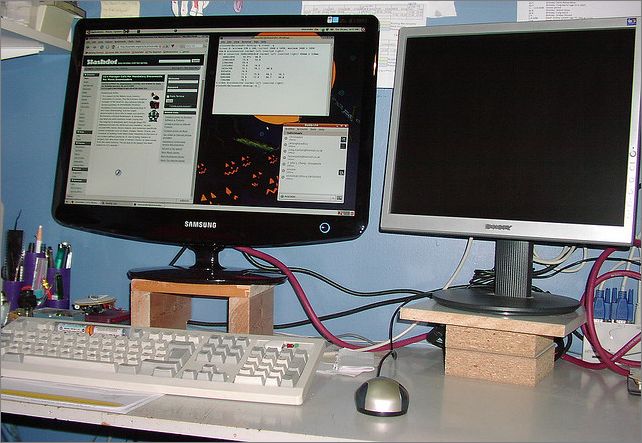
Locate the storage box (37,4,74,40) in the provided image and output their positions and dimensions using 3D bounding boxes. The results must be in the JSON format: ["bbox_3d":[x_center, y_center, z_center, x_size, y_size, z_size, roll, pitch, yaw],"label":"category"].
[{"bbox_3d":[-0.799,-0.597,1.603,0.083,0.102,0.112,16,8,29],"label":"storage box"}]

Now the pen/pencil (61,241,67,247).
[{"bbox_3d":[-0.781,0.065,1.580,0.016,0.006,0.020,4,12,-8],"label":"pen/pencil"}]

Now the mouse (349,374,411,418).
[{"bbox_3d":[0.113,0.326,1.007,0.080,0.044,0.080,-1,-4,39],"label":"mouse"}]

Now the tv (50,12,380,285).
[{"bbox_3d":[-0.288,-0.206,1.401,0.917,0.663,0.234,3,-2,12],"label":"tv"}]
